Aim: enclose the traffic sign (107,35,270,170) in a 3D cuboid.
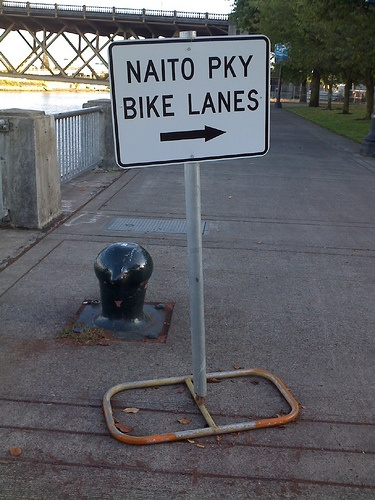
[{"bbox_3d":[0.031,-0.750,2.537,0.871,0.604,0.029,-10,23,-19],"label":"traffic sign"}]
